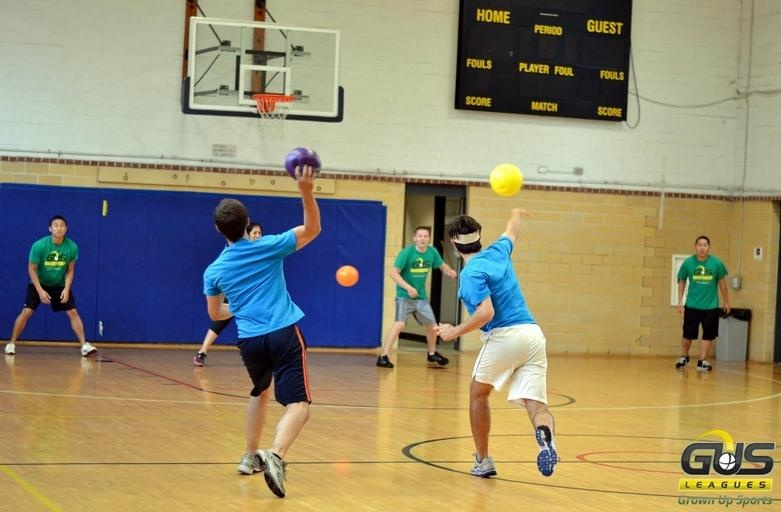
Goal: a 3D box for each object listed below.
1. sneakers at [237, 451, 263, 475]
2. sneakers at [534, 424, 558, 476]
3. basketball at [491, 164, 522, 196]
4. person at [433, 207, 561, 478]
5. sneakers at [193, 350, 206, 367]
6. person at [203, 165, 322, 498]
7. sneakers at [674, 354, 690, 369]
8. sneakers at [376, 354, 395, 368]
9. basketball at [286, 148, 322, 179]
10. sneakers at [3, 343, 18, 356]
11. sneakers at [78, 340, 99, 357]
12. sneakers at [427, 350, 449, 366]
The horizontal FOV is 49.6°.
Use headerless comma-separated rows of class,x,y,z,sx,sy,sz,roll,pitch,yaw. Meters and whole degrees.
sneakers,-1.693,2.430,10.048,0.218,0.243,0.509,2,3,8
sneakers,1.755,2.198,9.631,0.233,0.574,0.264,-2,9,11
basketball,1.439,-0.967,10.823,0.353,0.377,0.351,0,8,-9
person,1.240,1.109,9.974,1.366,3.071,1.068,2,8,11
sneakers,-3.560,1.841,15.590,0.166,0.195,0.468,5,6,-10
person,-1.455,0.836,9.576,1.205,3.685,0.898,0,8,-5
sneakers,5.996,2.118,17.416,0.199,0.157,0.381,7,31,44
sneakers,-0.128,1.988,16.149,0.340,0.203,0.180,1,2,5
basketball,-1.008,-1.066,9.649,0.360,0.336,0.341,2,15,1
sneakers,-7.114,1.697,15.730,0.165,0.187,0.445,1,2,-14
sneakers,-5.715,1.722,15.868,0.212,0.225,0.467,-22,-1,-38
sneakers,0.896,1.983,16.491,0.417,0.189,0.220,2,4,37
